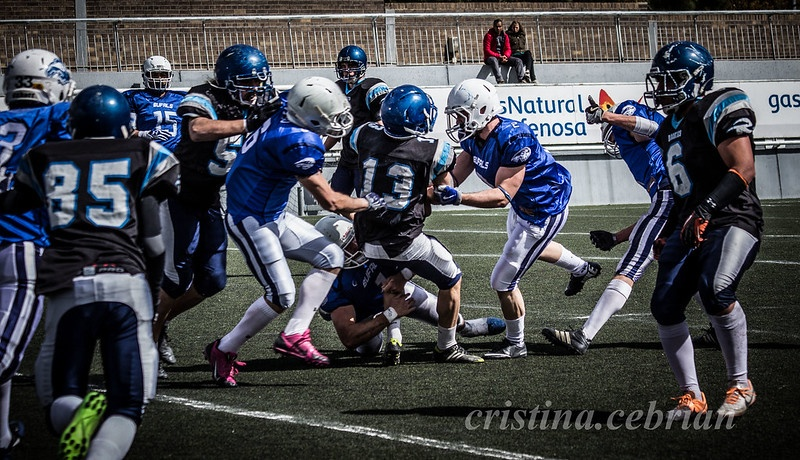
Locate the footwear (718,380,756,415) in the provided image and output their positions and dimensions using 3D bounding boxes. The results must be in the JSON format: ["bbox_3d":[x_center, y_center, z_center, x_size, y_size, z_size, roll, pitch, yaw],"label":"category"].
[{"bbox_3d":[2.615,1.296,5.862,0.427,0.255,0.128,-8,14,-27],"label":"footwear"}]

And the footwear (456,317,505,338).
[{"bbox_3d":[0.839,0.994,7.811,0.397,0.158,0.218,-1,1,-9],"label":"footwear"}]

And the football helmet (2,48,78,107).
[{"bbox_3d":[-2.900,-1.231,6.092,0.449,0.402,0.528,2,9,8],"label":"football helmet"}]

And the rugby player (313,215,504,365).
[{"bbox_3d":[-0.042,0.756,7.712,1.324,0.981,2.353,-23,-32,27],"label":"rugby player"}]

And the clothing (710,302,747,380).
[{"bbox_3d":[2.566,0.861,5.930,0.266,0.606,0.231,2,13,20],"label":"clothing"}]

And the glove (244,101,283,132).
[{"bbox_3d":[-1.286,-1.081,7.123,0.339,0.183,0.248,-33,0,8],"label":"glove"}]

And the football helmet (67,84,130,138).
[{"bbox_3d":[-2.096,-0.813,5.420,0.342,0.406,0.415,0,3,-9],"label":"football helmet"}]

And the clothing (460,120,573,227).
[{"bbox_3d":[1.291,-0.781,7.730,1.189,1.016,0.836,-18,30,-6],"label":"clothing"}]

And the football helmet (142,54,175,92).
[{"bbox_3d":[-3.328,-2.178,10.553,0.454,0.483,0.553,-2,10,-20],"label":"football helmet"}]

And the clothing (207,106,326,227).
[{"bbox_3d":[-1.248,-0.622,6.902,0.494,0.782,0.827,20,21,-21],"label":"clothing"}]

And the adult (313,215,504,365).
[{"bbox_3d":[0.017,0.688,7.773,1.374,0.952,2.241,5,-6,22],"label":"adult"}]

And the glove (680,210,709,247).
[{"bbox_3d":[2.236,-0.008,5.798,0.127,0.185,0.253,-44,-28,27],"label":"glove"}]

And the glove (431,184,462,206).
[{"bbox_3d":[0.436,-0.314,7.039,0.234,0.110,0.167,14,41,30],"label":"glove"}]

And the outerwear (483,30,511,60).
[{"bbox_3d":[2.415,-4.632,18.973,0.762,0.733,0.678,-1,-3,-3],"label":"outerwear"}]

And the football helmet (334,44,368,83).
[{"bbox_3d":[-0.676,-2.213,10.125,0.403,0.449,0.511,2,1,9],"label":"football helmet"}]

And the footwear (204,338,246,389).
[{"bbox_3d":[-1.554,1.190,6.848,0.251,0.540,0.206,-30,-20,17],"label":"footwear"}]

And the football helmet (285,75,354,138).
[{"bbox_3d":[-0.745,-1.095,6.882,0.593,0.425,0.479,9,34,-20],"label":"football helmet"}]

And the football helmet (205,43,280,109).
[{"bbox_3d":[-1.467,-1.543,7.281,0.628,0.477,0.494,28,39,32],"label":"football helmet"}]

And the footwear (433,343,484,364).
[{"bbox_3d":[0.540,1.182,7.266,0.526,0.200,0.176,0,-3,0],"label":"footwear"}]
